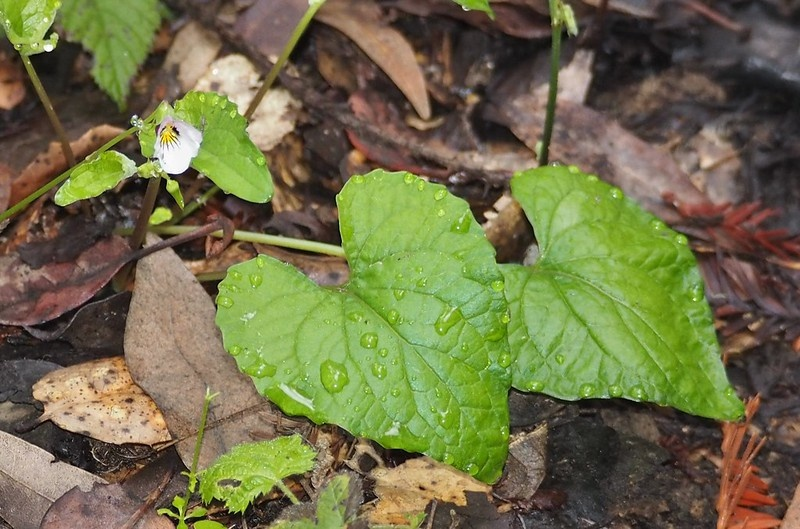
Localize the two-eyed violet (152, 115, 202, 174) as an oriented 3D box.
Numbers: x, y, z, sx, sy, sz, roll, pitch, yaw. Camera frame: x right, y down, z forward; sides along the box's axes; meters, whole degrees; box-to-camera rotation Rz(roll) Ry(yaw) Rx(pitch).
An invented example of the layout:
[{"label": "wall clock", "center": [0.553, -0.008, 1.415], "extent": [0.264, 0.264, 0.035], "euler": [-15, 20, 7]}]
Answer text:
[{"label": "two-eyed violet", "center": [-0.860, -0.453, 3.307], "extent": [0.168, 0.152, 0.157], "euler": [14, 53, -5]}]
